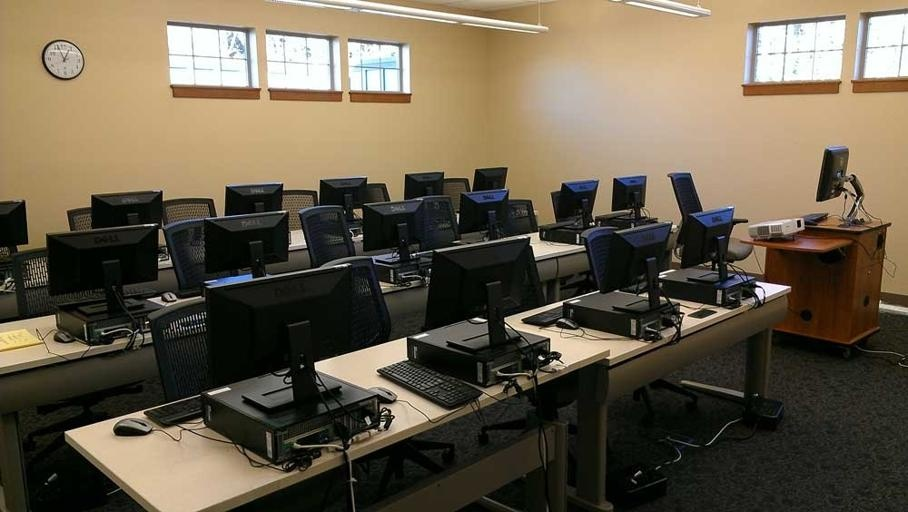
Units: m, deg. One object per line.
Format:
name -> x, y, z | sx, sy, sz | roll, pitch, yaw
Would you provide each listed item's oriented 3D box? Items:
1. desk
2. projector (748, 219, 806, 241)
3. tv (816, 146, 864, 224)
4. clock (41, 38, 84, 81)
desk -> 3.740, 0.289, 6.810 | 1.548, 1.290, 1.436 | -11, 14, -42
projector -> 3.262, -0.310, 6.277 | 0.342, 0.123, 0.332 | -13, 11, -32
tv -> 4.424, -0.802, 6.989 | 0.535, 0.943, 1.043 | 4, 10, 44
clock -> -4.773, -2.388, 7.425 | 0.473, 0.404, 0.077 | -29, 28, -32
